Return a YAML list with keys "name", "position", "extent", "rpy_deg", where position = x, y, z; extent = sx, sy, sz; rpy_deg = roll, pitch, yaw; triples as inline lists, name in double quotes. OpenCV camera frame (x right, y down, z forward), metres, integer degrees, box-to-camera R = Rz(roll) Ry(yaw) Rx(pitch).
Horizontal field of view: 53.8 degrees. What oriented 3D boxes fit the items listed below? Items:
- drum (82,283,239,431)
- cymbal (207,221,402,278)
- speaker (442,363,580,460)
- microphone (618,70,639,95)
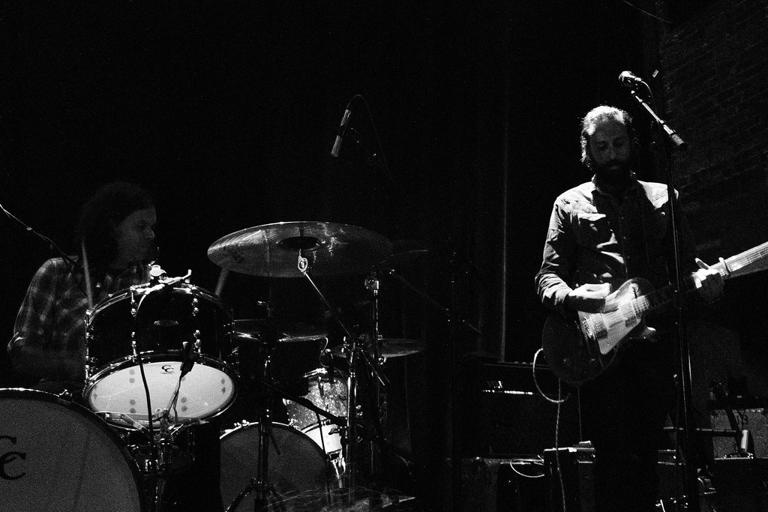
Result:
- name: "drum"
  position: [-1.076, 0.482, 3.665]
  extent: [0.712, 0.482, 0.702]
  rpy_deg: [-7, -38, -6]
- name: "cymbal"
  position: [-0.443, -0.005, 4.125]
  extent: [0.988, 0.119, 0.689]
  rpy_deg: [0, -22, -7]
- name: "speaker"
  position: [0.646, 0.824, 4.065]
  extent: [0.904, 0.634, 0.467]
  rpy_deg: [0, -9, -1]
- name: "microphone"
  position: [1.124, -0.808, 3.526]
  extent: [0.081, 0.073, 0.134]
  rpy_deg: [13, 18, -15]
